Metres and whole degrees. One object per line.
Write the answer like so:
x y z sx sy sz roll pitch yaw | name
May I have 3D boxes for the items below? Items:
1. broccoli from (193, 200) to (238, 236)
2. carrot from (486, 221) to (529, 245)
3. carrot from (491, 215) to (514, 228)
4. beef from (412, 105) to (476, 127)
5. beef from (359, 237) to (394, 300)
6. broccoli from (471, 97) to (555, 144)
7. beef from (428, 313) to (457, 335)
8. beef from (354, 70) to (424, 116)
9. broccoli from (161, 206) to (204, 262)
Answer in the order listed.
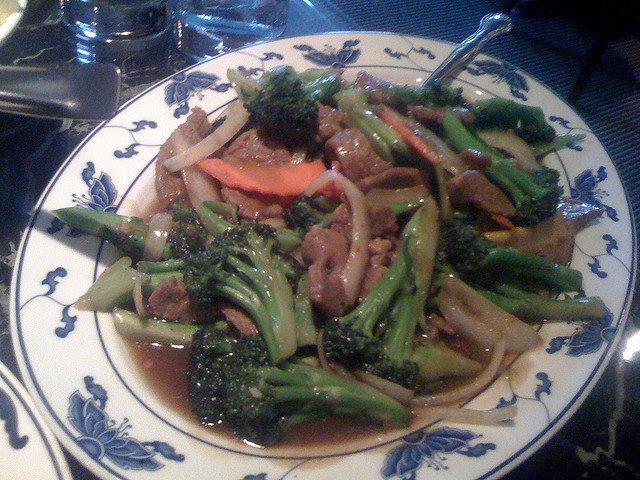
-0.674 -0.153 3.640 0.265 0.067 0.215 26 55 8 | broccoli
1.200 -0.040 3.594 0.225 0.155 0.072 -13 96 6 | carrot
1.187 -0.114 3.652 0.096 0.091 0.027 8 102 -31 | carrot
0.856 -0.867 3.891 0.307 0.064 0.173 1 33 -6 | beef
0.365 0.166 3.496 0.231 0.098 0.357 42 69 -29 | beef
1.360 -0.837 3.996 0.536 0.129 0.274 10 66 -9 | broccoli
0.757 0.522 3.509 0.168 0.050 0.091 28 51 21 | beef
0.472 -1.025 4.113 0.513 0.130 0.276 31 70 26 | beef
-0.861 -0.035 3.614 0.294 0.112 0.316 -5 80 -3 | broccoli
